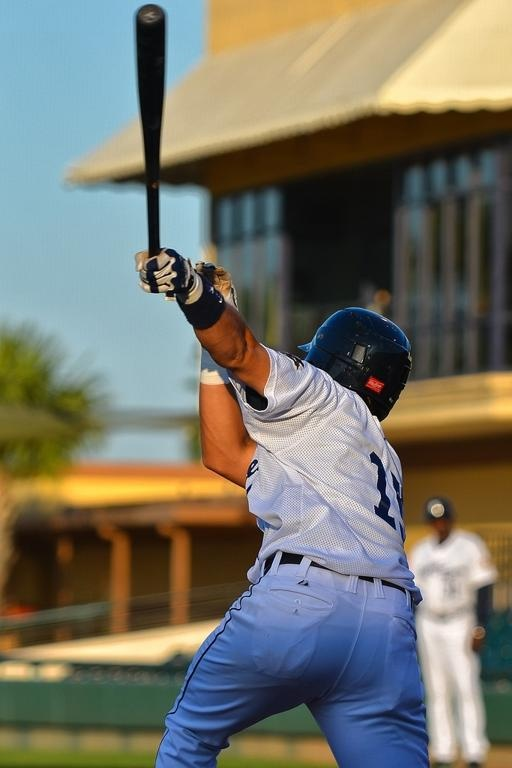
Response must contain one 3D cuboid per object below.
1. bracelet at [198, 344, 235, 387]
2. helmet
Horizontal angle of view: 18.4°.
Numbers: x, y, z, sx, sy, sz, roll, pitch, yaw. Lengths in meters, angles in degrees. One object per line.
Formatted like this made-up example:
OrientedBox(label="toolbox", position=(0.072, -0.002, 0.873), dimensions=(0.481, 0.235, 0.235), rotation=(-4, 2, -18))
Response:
OrientedBox(label="bracelet", position=(-0.120, -0.057, 4.445), dimensions=(0.101, 0.098, 0.080), rotation=(16, -11, -40))
OrientedBox(label="helmet", position=(0.274, -0.068, 4.452), dimensions=(0.326, 0.285, 0.257), rotation=(15, -18, -14))
